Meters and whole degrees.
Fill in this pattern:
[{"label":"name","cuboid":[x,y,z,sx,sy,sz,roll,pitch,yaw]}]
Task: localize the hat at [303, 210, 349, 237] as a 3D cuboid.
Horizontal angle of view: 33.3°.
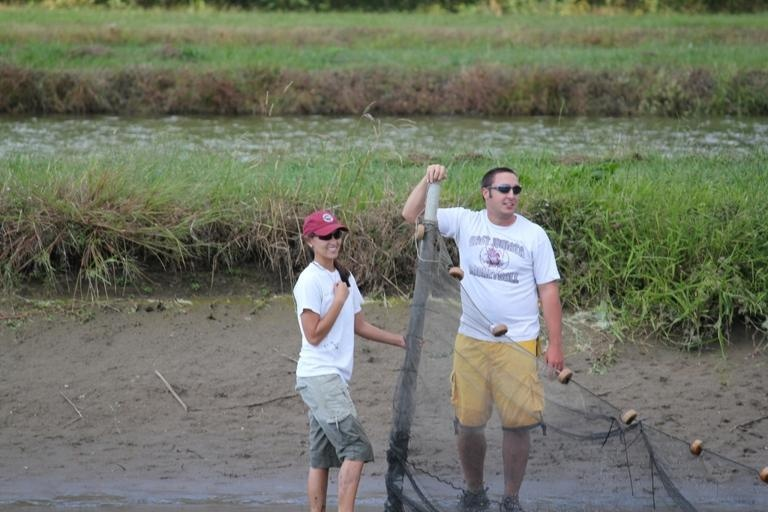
[{"label":"hat","cuboid":[-0.671,-0.297,13.276,0.259,0.206,0.363,-1,-5,-40]}]
